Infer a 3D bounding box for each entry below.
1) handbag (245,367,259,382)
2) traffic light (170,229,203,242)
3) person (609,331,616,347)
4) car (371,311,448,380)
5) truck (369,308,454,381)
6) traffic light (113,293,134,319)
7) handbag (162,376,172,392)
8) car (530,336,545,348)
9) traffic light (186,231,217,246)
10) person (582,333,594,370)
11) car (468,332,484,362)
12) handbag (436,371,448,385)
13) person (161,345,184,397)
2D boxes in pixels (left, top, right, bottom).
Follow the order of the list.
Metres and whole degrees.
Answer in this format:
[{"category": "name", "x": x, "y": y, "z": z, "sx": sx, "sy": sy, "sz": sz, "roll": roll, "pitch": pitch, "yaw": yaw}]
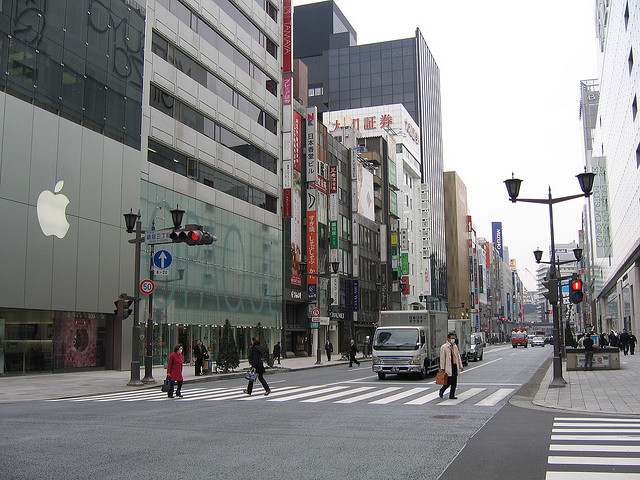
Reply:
[{"category": "handbag", "x": -2.530, "y": 5.034, "z": 21.350, "sx": 0.298, "sy": 0.186, "sz": 0.475, "roll": 4, "pitch": 5, "yaw": 7}, {"category": "traffic light", "x": -4.747, "y": -0.151, "z": 20.837, "sx": 0.803, "sy": 0.369, "sz": 0.855, "roll": -2, "pitch": -6, "yaw": 17}, {"category": "person", "x": 24.352, "y": 8.332, "z": 47.957, "sx": 0.340, "sy": 1.007, "sz": 1.870, "roll": -7, "pitch": -14, "yaw": 22}, {"category": "car", "x": 4.850, "y": 5.719, "z": 30.327, "sx": 2.142, "sy": 3.002, "sz": 5.216, "roll": -4, "pitch": -21, "yaw": 16}, {"category": "truck", "x": 4.930, "y": 5.669, "z": 30.592, "sx": 2.327, "sy": 3.327, "sz": 5.725, "roll": -4, "pitch": -19, "yaw": 16}, {"category": "traffic light", "x": -9.010, "y": 3.028, "z": 26.373, "sx": 0.703, "sy": 1.143, "sz": 1.100, "roll": 2, "pitch": -14, "yaw": -21}, {"category": "handbag", "x": -5.700, "y": 5.418, "z": 21.493, "sx": 0.227, "sy": 0.589, "sz": 0.554, "roll": 6, "pitch": -16, "yaw": -38}, {"category": "car", "x": 41.225, "y": 19.528, "z": 109.441, "sx": 1.473, "sy": 1.585, "sz": 3.739, "roll": 0, "pitch": -7, "yaw": 16}, {"category": "traffic light", "x": -4.086, "y": -0.052, "z": 20.229, "sx": 0.491, "sy": 0.423, "sz": 0.872, "roll": 10, "pitch": -20, "yaw": -43}, {"category": "person", "x": 15.245, "y": 6.371, "z": 32.747, "sx": 0.550, "sy": 1.925, "sz": 1.408, "roll": -7, "pitch": -13, "yaw": 25}, {"category": "car", "x": 12.570, "y": 8.705, "z": 46.383, "sx": 1.371, "sy": 1.680, "sz": 2.908, "roll": -5, "pitch": -17, "yaw": 16}, {"category": "handbag", "x": 4.121, "y": 4.700, "z": 19.470, "sx": 0.379, "sy": 0.441, "sz": 0.362, "roll": -4, "pitch": -12, "yaw": 4}, {"category": "person", "x": -5.562, "y": 5.011, "z": 21.849, "sx": 0.678, "sy": 1.947, "sz": 1.457, "roll": 1, "pitch": -12, "yaw": -15}]
